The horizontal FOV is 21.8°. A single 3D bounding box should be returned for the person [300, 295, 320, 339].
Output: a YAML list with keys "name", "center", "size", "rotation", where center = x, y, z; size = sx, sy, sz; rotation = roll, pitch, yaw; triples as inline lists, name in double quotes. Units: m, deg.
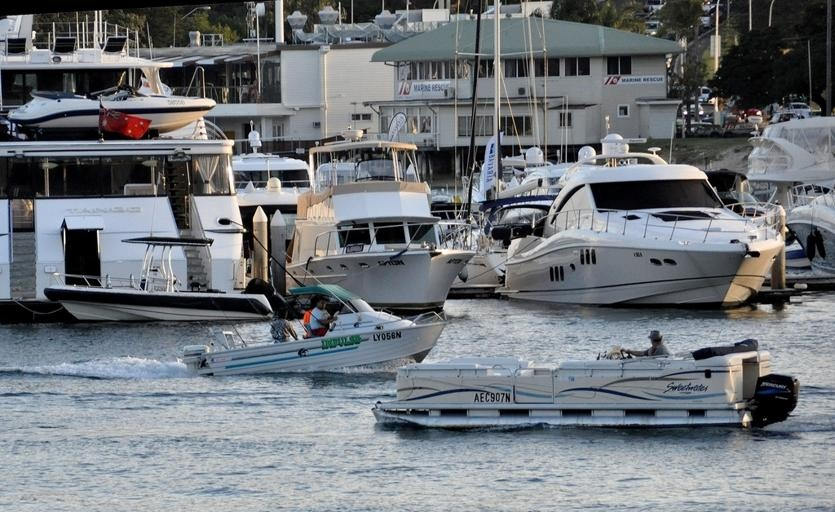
- name: "person"
  center: [-4.068, 2.539, 87.260]
  size: [0.611, 1.426, 1.090]
  rotation: [0, 2, -25]
